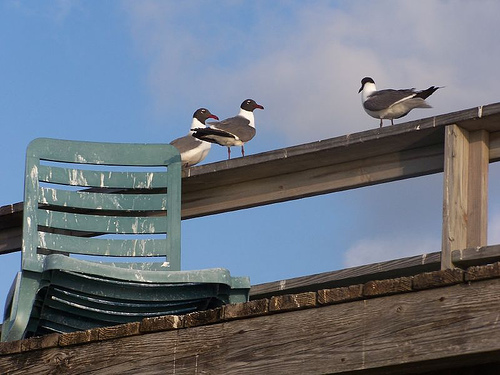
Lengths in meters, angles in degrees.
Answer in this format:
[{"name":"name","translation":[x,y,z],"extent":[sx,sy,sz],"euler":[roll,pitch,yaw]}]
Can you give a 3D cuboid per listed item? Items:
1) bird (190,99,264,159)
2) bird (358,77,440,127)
[{"name":"bird","translation":[-0.231,-0.631,15.610],"extent":[1.069,0.665,0.395],"euler":[1,-9,-40]},{"name":"bird","translation":[1.463,-0.866,14.599],"extent":[0.361,0.574,0.917],"euler":[17,-17,-42]}]
